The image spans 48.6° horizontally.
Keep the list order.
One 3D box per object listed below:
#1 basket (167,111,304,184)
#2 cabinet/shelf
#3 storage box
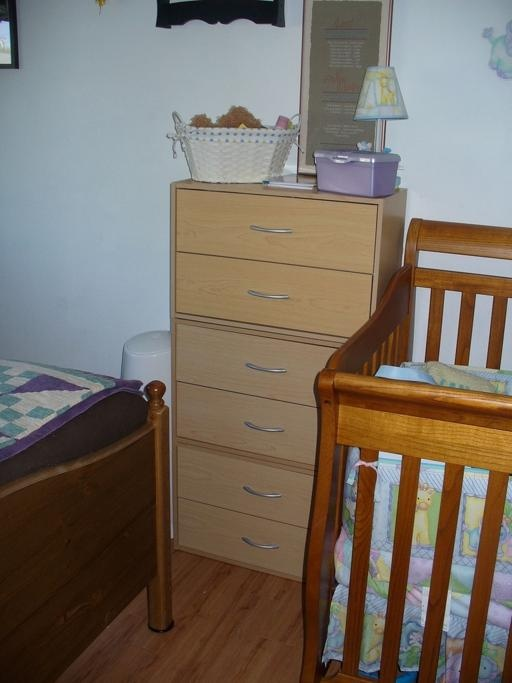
[{"bbox_3d":[-0.087,-0.549,1.672,0.307,0.148,0.241,4,23,5],"label":"basket"},{"bbox_3d":[0.116,0.117,1.925,0.705,1.251,0.436,10,23,23],"label":"cabinet/shelf"},{"bbox_3d":[0.271,-0.448,1.510,0.235,0.128,0.177,2,13,-1],"label":"storage box"}]
